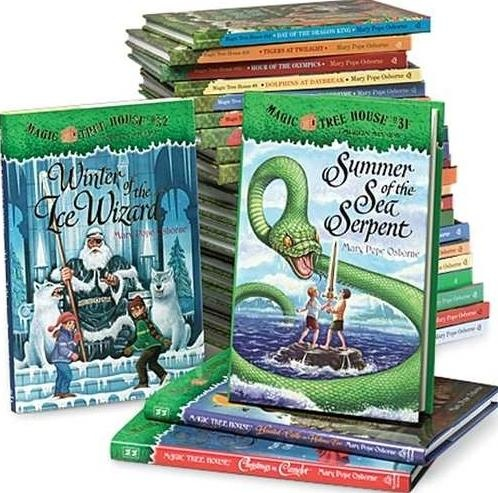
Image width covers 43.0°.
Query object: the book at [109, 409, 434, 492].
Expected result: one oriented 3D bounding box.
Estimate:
[{"bbox_3d":[0.019,0.482,1.469,0.373,0.031,0.245,5,5,16],"label":"book"}]
